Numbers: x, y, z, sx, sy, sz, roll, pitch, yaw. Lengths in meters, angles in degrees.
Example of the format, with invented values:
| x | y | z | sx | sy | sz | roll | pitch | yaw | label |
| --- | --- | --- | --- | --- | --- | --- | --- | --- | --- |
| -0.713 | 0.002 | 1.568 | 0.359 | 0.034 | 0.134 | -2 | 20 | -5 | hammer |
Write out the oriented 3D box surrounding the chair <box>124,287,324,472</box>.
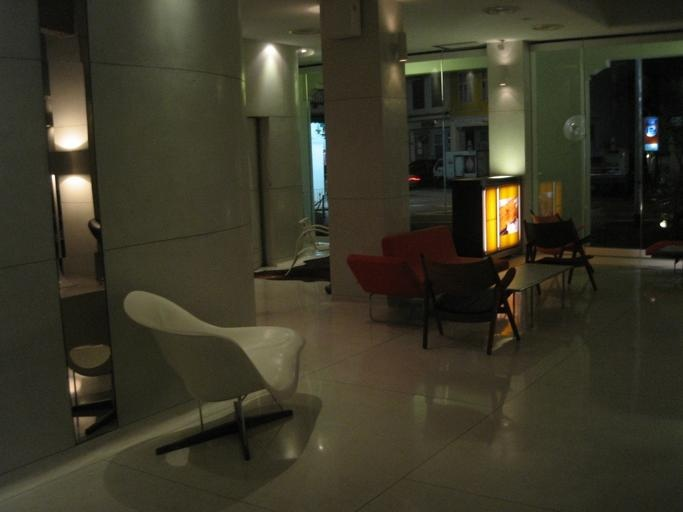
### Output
| x | y | z | sx | sy | sz | roll | pitch | yaw | label |
| --- | --- | --- | --- | --- | --- | --- | --- | --- | --- |
| -0.897 | 0.809 | 4.629 | 1.260 | 1.162 | 1.066 | -8 | 12 | -25 | chair |

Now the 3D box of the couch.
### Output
| x | y | z | sx | sy | sz | roll | pitch | yaw | label |
| --- | --- | --- | --- | --- | --- | --- | --- | --- | --- |
| 1.367 | 0.004 | 7.862 | 1.021 | 0.660 | 1.701 | 5 | 10 | 39 | couch |

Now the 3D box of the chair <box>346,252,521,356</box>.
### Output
| x | y | z | sx | sy | sz | roll | pitch | yaw | label |
| --- | --- | --- | --- | --- | --- | --- | --- | --- | --- |
| 1.335 | 0.344 | 6.833 | 1.029 | 1.137 | 1.232 | -1 | 9 | 26 | chair |

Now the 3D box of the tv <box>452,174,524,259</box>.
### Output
| x | y | z | sx | sy | sz | roll | pitch | yaw | label |
| --- | --- | --- | --- | --- | --- | --- | --- | --- | --- |
| 2.685 | -0.711 | 11.211 | 0.514 | 1.321 | 1.474 | 4 | 10 | 40 | tv |

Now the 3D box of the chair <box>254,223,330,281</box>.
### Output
| x | y | z | sx | sy | sz | roll | pitch | yaw | label |
| --- | --- | --- | --- | --- | --- | --- | --- | --- | --- |
| -0.713 | -0.044 | 11.390 | 0.946 | 0.474 | 1.290 | 4 | 15 | 18 | chair |
